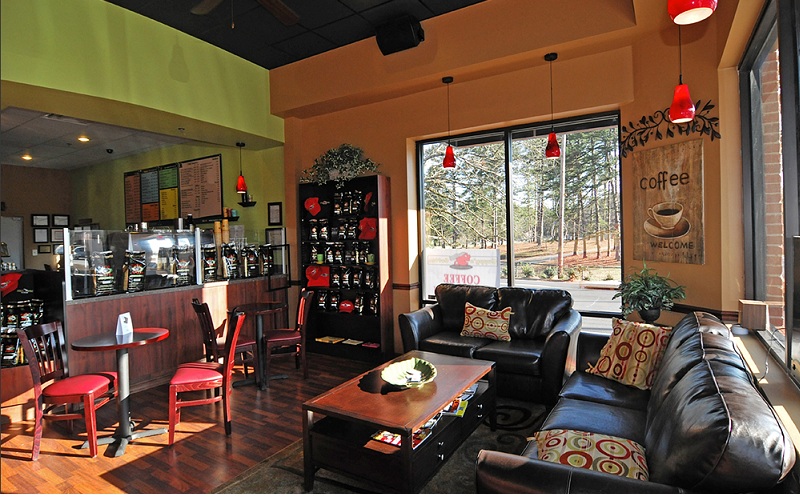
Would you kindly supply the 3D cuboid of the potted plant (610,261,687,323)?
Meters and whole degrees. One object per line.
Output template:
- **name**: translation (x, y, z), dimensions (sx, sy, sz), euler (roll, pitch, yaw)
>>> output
- **potted plant**: translation (2.973, 0.518, 6.262), dimensions (0.747, 0.667, 0.717), euler (1, 3, -11)

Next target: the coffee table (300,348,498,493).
- **coffee table**: translation (-0.141, 1.276, 4.944), dimensions (1.219, 0.788, 1.897), euler (1, 5, 32)

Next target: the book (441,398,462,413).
- **book**: translation (0.505, 1.560, 4.992), dimensions (0.186, 0.061, 0.239), euler (-3, 5, 12)

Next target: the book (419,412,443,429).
- **book**: translation (0.322, 1.676, 4.932), dimensions (0.124, 0.047, 0.211), euler (-10, 12, 31)

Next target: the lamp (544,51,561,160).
- **lamp**: translation (2.014, -1.848, 6.586), dimensions (0.212, 1.204, 0.906), euler (-4, 1, 19)

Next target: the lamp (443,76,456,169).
- **lamp**: translation (0.725, -1.785, 7.288), dimensions (0.222, 1.208, 0.857), euler (-4, 1, 7)

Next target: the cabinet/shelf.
- **cabinet/shelf**: translation (-0.881, 0.269, 7.967), dimensions (1.468, 2.743, 0.625), euler (-3, 1, 35)

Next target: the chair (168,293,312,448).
- **chair**: translation (-2.063, 1.552, 6.321), dimensions (0.644, 0.953, 1.604), euler (2, 0, 10)

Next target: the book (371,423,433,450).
- **book**: translation (0.048, 1.765, 4.706), dimensions (0.601, 0.198, 0.328), euler (-3, 1, -4)

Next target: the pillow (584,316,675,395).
- **pillow**: translation (2.455, 1.088, 5.260), dimensions (0.216, 0.672, 0.706), euler (29, -4, -32)

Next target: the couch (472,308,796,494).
- **couch**: translation (2.125, 0.802, 4.038), dimensions (1.385, 1.033, 2.618), euler (3, 4, 28)
